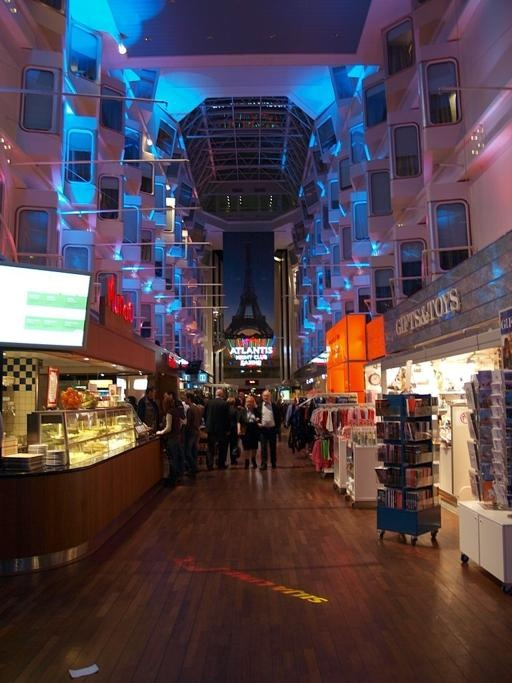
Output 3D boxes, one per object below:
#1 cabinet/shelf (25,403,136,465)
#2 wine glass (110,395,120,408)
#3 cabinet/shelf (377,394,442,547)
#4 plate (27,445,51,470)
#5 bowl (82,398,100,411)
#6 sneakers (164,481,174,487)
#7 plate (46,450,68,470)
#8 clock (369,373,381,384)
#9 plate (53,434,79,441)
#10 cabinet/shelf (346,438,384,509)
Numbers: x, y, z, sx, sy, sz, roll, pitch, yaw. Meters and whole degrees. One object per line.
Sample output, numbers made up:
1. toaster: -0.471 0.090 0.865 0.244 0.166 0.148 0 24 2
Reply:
1. cabinet/shelf: -1.627 0.842 4.737 0.237 0.343 1.361 6 -6 23
2. wine glass: -1.916 0.822 6.556 0.094 0.172 0.164 -1 -12 0
3. cabinet/shelf: 1.481 1.191 4.663 0.640 1.367 0.558 0 -9 3
4. plate: -1.779 0.958 4.038 0.170 0.192 0.177 -6 -9 37
5. bowl: -1.858 0.695 5.439 0.171 0.176 0.172 2 -14 1
6. sneakers: -1.408 2.309 7.854 0.164 0.105 0.285 2 -10 -11
7. plate: -1.633 0.962 3.946 0.140 0.127 0.146 -5 -11 12
8. clock: 3.315 1.081 13.605 0.293 0.334 0.143 -2 -10 13
9. plate: -1.594 0.829 4.155 0.152 0.067 0.252 -5 -11 28
10. cabinet/shelf: 1.360 1.631 5.954 0.328 0.916 0.968 0 -15 2
